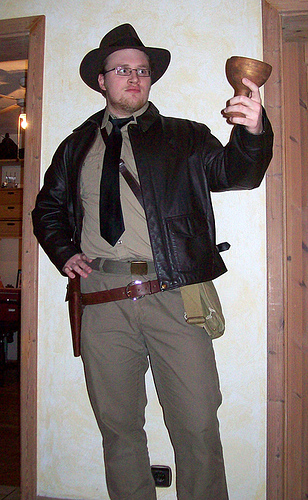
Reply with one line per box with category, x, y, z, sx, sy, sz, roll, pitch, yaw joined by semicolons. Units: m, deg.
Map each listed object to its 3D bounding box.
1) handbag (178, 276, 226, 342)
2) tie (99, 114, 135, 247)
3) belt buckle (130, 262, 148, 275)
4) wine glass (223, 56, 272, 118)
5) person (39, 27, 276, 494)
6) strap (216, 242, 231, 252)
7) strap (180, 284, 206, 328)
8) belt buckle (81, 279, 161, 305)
handbag;0.144;0.201;2.051;0.156;0.182;0.078;-3;4;-42
tie;-0.150;-0.282;2.136;0.127;0.539;0.136;-2;-4;10
belt buckle;-0.058;0.071;2.083;0.066;0.049;0.020;-1;-4;-6
wine glass;0.311;-0.571;1.791;0.144;0.124;0.089;-2;-4;8
person;0.043;-0.034;2.141;1.085;1.955;0.434;-5;-6;41
strap;0.284;-0.013;2.220;0.058;0.026;0.013;-3;1;24
strap;0.143;0.200;2.030;0.084;0.141;0.031;-2;-4;3
belt buckle;-0.141;0.167;2.118;0.342;0.091;0.072;-3;-5;32
